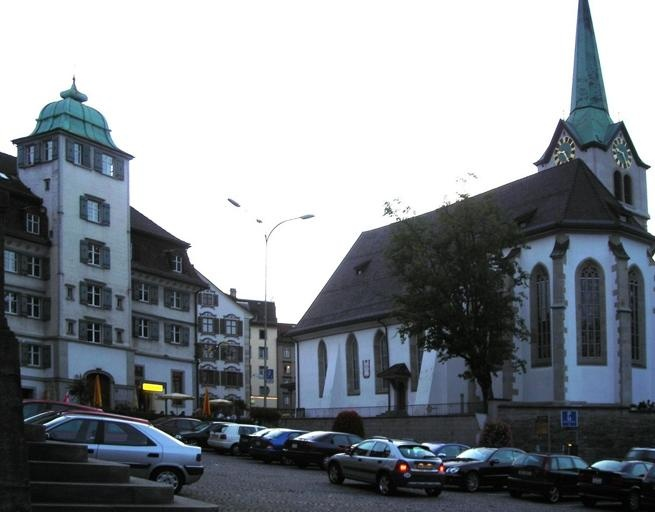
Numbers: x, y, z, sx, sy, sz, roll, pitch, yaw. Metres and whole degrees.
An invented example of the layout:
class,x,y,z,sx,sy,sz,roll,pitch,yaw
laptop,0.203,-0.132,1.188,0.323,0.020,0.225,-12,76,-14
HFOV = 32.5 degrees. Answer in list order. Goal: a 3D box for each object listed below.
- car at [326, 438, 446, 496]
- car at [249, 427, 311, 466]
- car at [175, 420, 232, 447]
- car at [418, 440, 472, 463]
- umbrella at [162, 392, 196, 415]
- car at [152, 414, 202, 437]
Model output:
class,x,y,z,sx,sy,sz,roll,pitch,yaw
car,2.049,7.513,40.015,2.188,1.891,4.921,4,-9,-29
car,-2.327,8.095,48.076,1.922,1.608,1.987,-8,-10,22
car,-5.877,8.264,52.186,2.240,0.803,1.108,5,-10,-13
car,4.667,7.682,44.623,2.136,0.736,0.976,-2,0,-31
umbrella,-9.519,9.342,71.267,1.534,1.036,1.475,-8,-16,34
car,-7.171,8.099,53.983,2.144,0.756,1.003,-1,1,-20
